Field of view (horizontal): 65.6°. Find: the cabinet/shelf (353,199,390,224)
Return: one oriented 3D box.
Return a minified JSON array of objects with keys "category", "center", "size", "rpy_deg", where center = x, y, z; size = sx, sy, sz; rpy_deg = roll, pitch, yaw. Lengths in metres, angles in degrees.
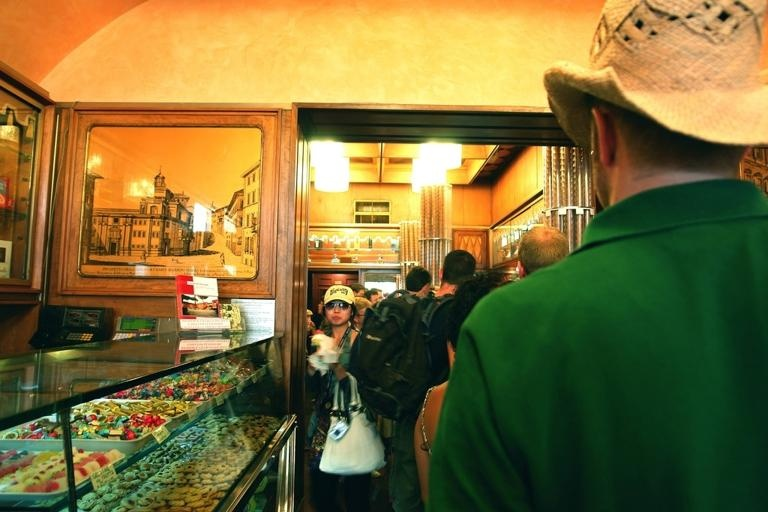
[{"category":"cabinet/shelf","center":[-0.249,-0.918,12.189],"size":[0.743,0.497,0.266],"rpy_deg":[-9,1,2]}]
